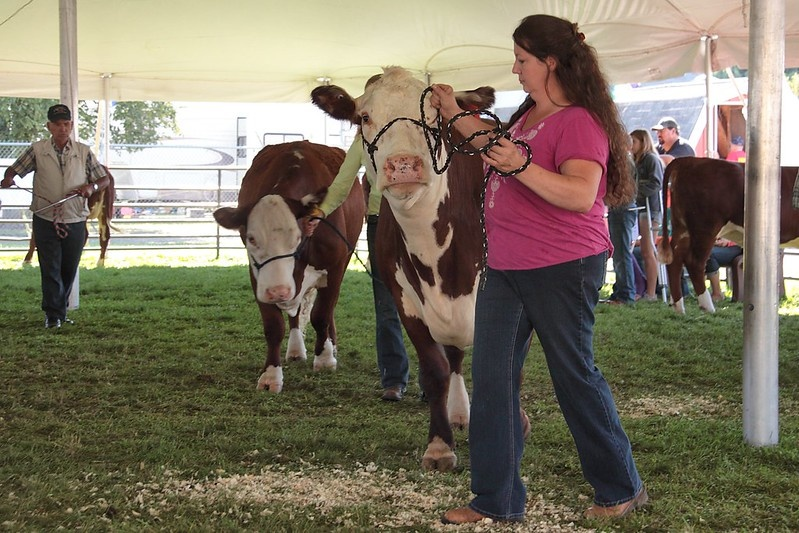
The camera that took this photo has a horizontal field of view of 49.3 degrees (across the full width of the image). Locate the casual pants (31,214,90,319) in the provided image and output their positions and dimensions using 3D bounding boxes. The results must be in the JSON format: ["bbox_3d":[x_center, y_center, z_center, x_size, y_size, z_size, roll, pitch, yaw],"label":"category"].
[{"bbox_3d":[-3.909,0.000,10.149,0.592,1.208,0.503,-4,6,-44],"label":"casual pants"}]

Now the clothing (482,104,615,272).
[{"bbox_3d":[1.045,-0.562,6.200,1.025,1.204,1.058,-2,5,-9],"label":"clothing"}]

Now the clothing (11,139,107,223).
[{"bbox_3d":[-3.986,-1.050,10.254,1.092,0.916,0.485,1,11,-24],"label":"clothing"}]

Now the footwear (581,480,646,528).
[{"bbox_3d":[1.477,1.590,5.818,0.471,0.176,0.167,-5,3,-17],"label":"footwear"}]

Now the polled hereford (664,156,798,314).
[{"bbox_3d":[3.652,-0.367,10.582,0.969,1.916,0.720,3,5,23],"label":"polled hereford"}]

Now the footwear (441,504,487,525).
[{"bbox_3d":[0.422,1.653,5.826,0.326,0.120,0.107,6,-1,4],"label":"footwear"}]
